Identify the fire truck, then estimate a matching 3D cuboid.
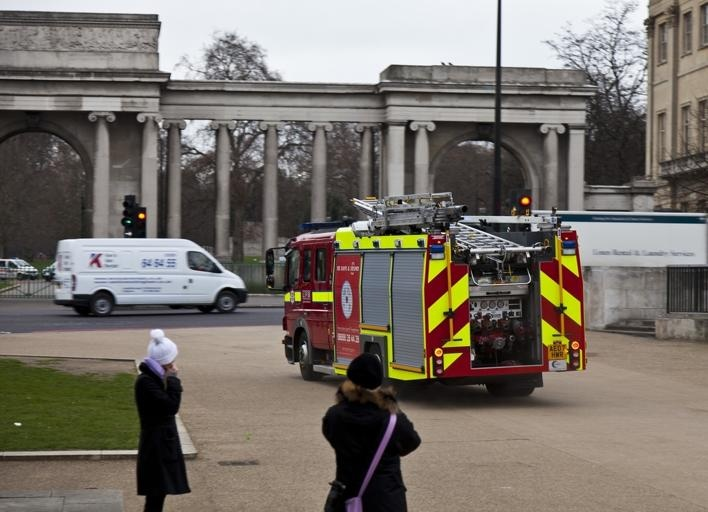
[{"bbox_3d":[1.602,0.957,29.490,4.185,3.673,8.179,0,1,-25],"label":"fire truck"}]
